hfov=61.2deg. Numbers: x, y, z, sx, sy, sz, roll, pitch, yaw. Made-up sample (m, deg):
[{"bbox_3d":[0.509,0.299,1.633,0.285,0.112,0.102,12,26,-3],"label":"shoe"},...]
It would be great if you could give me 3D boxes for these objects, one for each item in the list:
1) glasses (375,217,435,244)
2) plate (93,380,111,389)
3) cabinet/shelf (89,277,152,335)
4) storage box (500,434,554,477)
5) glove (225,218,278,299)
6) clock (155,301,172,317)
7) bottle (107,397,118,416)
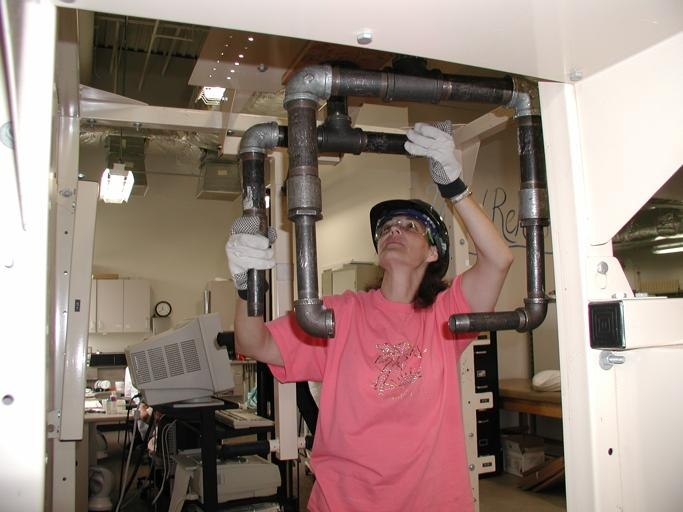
[{"bbox_3d":[0.232,-0.081,2.086,0.117,0.036,0.124,5,-21,16],"label":"glasses"},{"bbox_3d":[-2.217,1.190,5.401,0.126,0.072,0.187,3,-7,-14],"label":"plate"},{"bbox_3d":[-2.860,0.647,7.449,0.786,0.808,0.310,2,-5,-23],"label":"cabinet/shelf"},{"bbox_3d":[1.440,1.548,4.572,0.263,0.291,0.274,-16,6,-34],"label":"storage box"},{"bbox_3d":[-0.225,0.013,1.462,0.126,0.190,0.077,3,-7,31],"label":"glove"},{"bbox_3d":[-2.519,0.751,8.225,0.192,0.215,0.056,3,-9,-33],"label":"clock"},{"bbox_3d":[-1.668,1.104,4.226,0.091,0.143,0.052,1,-2,4],"label":"bottle"}]
